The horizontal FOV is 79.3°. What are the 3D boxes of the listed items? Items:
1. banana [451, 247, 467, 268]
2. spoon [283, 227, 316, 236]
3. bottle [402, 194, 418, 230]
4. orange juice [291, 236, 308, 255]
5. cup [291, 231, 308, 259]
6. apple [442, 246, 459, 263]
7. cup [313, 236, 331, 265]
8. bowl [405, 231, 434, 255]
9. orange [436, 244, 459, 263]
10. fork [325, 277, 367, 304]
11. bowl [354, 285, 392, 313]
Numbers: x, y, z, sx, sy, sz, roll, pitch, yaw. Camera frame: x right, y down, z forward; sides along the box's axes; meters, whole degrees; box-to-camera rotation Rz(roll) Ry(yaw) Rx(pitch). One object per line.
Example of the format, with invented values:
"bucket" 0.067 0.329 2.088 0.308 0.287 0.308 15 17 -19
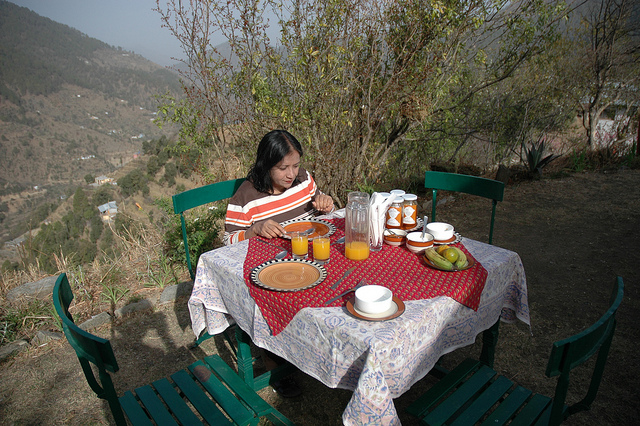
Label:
"banana" 1.079 0.337 2.933 0.074 0.050 0.146 6 25 9
"spoon" -0.184 0.165 3.396 0.269 0.042 0.042 3 22 18
"bottle" 0.784 -0.019 3.442 0.161 0.300 0.165 1 10 0
"orange juice" -0.170 0.268 3.219 0.132 0.151 0.134 5 13 21
"cup" -0.132 0.285 3.207 0.115 0.191 0.124 2 -11 0
"apple" 1.010 0.311 3.007 0.104 0.134 0.109 -23 22 -5
"cup" 0.012 0.298 3.073 0.169 0.210 0.179 -1 11 0
"bowl" 0.819 0.249 3.199 0.179 0.120 0.187 -3 10 1
"orange" 0.998 0.332 3.008 0.096 0.106 0.162 17 10 -35
"fork" 0.185 0.564 2.772 0.255 0.033 0.034 -27 52 -17
"bowl" 0.365 0.588 2.643 0.176 0.080 0.181 -4 17 1
